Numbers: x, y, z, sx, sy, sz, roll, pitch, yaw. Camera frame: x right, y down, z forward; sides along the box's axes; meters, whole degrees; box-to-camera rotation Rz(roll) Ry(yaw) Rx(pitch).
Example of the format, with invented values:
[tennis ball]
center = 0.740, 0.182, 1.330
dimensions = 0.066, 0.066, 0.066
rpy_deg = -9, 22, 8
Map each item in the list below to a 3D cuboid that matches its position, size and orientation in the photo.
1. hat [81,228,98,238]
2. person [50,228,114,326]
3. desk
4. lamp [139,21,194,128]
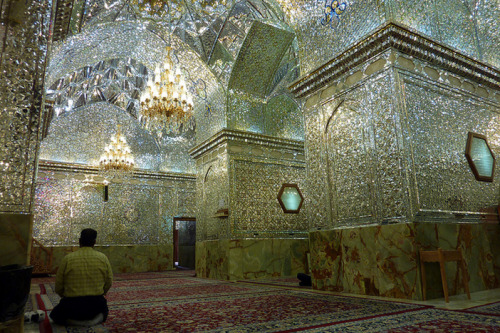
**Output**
[hat]
center = -1.979, 0.811, 4.264
dimensions = 0.166, 0.122, 0.210
rpy_deg = 2, -3, -11
[person]
center = -1.980, 1.289, 4.112
dimensions = 0.610, 1.075, 0.277
rpy_deg = 5, -14, -27
[desk]
center = 2.685, 1.519, 4.807
dimensions = 0.570, 0.783, 0.507
rpy_deg = 7, -19, -22
[lamp]
center = -1.969, -2.009, 8.256
dimensions = 1.139, 2.524, 1.515
rpy_deg = 1, -13, -14
